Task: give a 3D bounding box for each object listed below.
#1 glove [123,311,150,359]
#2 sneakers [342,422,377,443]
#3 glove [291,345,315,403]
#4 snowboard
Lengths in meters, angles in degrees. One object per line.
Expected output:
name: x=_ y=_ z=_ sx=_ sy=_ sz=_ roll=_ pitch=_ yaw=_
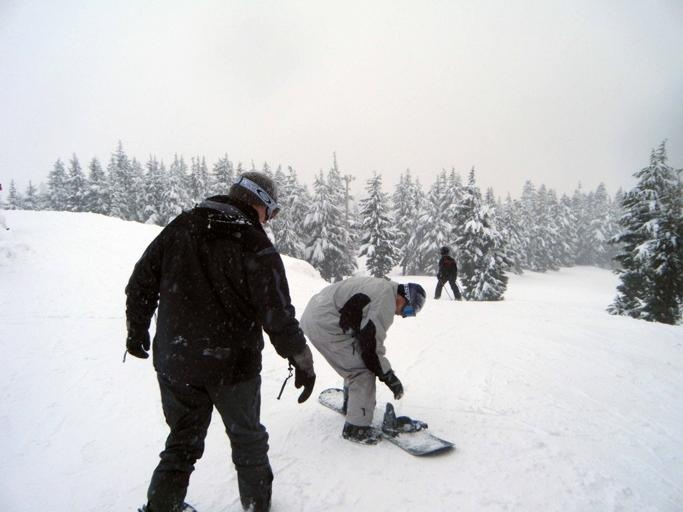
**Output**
glove: x=-2.041 y=0.841 z=4.856 sx=0.274 sy=0.442 sz=0.122 roll=-3 pitch=30 yaw=-6
sneakers: x=0.233 y=2.152 z=5.925 sx=0.320 sy=0.272 sz=0.216 roll=0 pitch=-2 yaw=5
glove: x=-0.323 y=1.118 z=4.800 sx=0.292 sy=0.558 sz=0.158 roll=-1 pitch=23 yaw=23
snowboard: x=0.476 y=2.197 z=6.455 sx=0.601 sy=0.469 sz=2.308 roll=-6 pitch=7 yaw=-29
